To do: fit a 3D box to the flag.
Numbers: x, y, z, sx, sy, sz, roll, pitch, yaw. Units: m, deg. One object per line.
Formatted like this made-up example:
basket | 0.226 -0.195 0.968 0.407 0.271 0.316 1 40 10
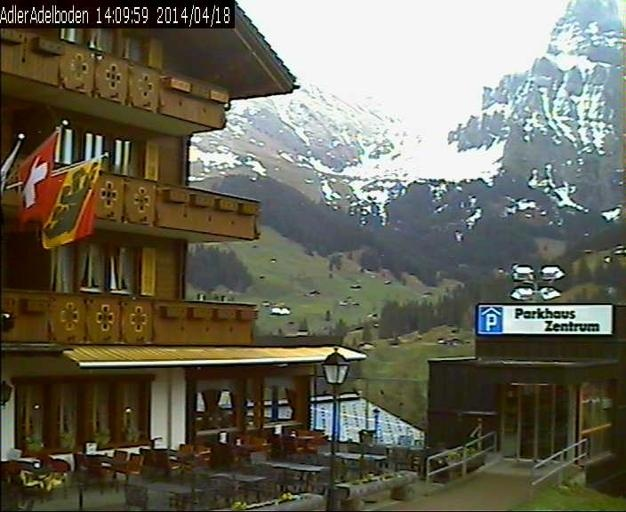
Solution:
flag | -8.213 -2.276 31.859 5.400 4.222 0.748 -7 -6 37
